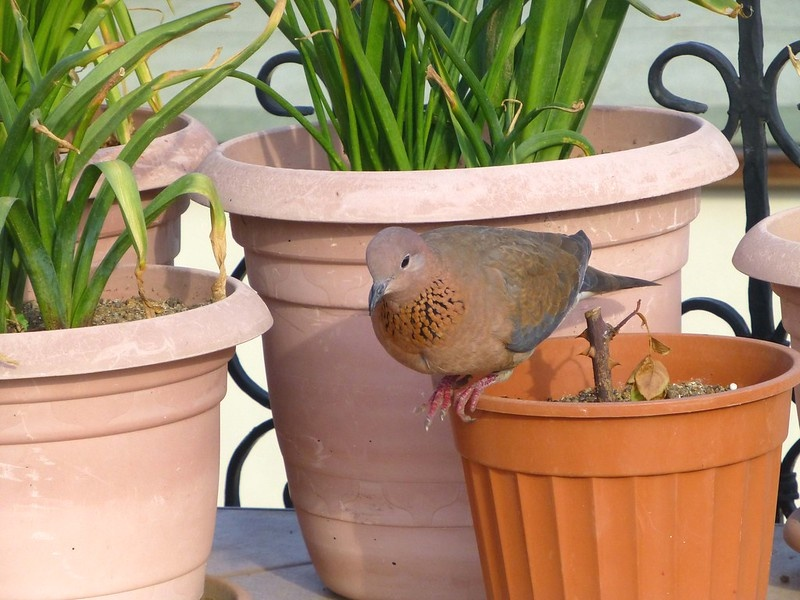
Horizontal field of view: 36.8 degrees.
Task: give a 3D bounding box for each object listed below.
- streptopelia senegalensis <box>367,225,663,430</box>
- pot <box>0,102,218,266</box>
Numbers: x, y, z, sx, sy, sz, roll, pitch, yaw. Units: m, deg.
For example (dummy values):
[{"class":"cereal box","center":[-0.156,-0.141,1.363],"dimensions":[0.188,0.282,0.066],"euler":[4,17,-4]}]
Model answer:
[{"class":"streptopelia senegalensis","center":[0.175,-0.057,1.866],"dimensions":[0.442,0.267,0.202],"euler":[-39,31,-26]},{"class":"pot","center":[-0.555,-0.251,2.411],"dimensions":[0.280,0.237,0.296],"euler":[0,12,0]}]
